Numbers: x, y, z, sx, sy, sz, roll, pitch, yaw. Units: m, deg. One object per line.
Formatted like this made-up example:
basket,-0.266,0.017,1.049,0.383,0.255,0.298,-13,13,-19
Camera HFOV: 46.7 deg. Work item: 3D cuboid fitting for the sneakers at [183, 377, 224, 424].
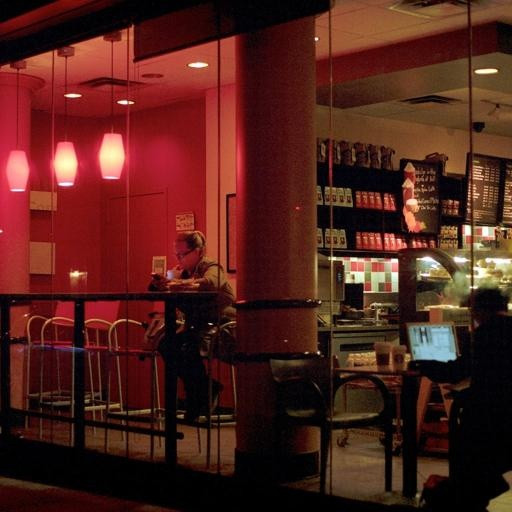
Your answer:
sneakers,-0.288,0.770,3.175,0.260,0.266,0.085,-2,-2,33

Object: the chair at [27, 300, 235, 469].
chair,-0.691,0.750,3.442,0.972,0.740,0.358,-5,-10,35

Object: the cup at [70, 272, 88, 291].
cup,-1.154,0.158,3.839,0.115,0.138,0.272,0,-2,-18

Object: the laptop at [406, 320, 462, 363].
laptop,0.917,0.462,3.103,0.225,0.206,0.211,1,5,23

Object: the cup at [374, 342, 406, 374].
cup,0.737,0.554,3.249,0.126,0.118,0.151,1,-8,-5

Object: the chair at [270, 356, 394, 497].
chair,0.325,0.757,3.091,0.648,0.899,0.588,5,-10,-40

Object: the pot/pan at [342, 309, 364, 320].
pot/pan,0.916,0.554,5.620,0.282,0.095,0.087,1,-2,-45

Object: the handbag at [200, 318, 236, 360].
handbag,-0.195,0.445,3.183,0.186,0.209,0.153,8,-12,-25

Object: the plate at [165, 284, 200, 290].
plate,-0.394,0.167,3.200,0.176,0.036,0.040,-1,-2,22

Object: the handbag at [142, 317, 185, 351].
handbag,-0.532,0.427,3.335,0.160,0.227,0.076,24,8,36

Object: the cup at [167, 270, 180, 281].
cup,-0.455,0.106,3.253,0.054,0.061,0.057,0,-3,0
